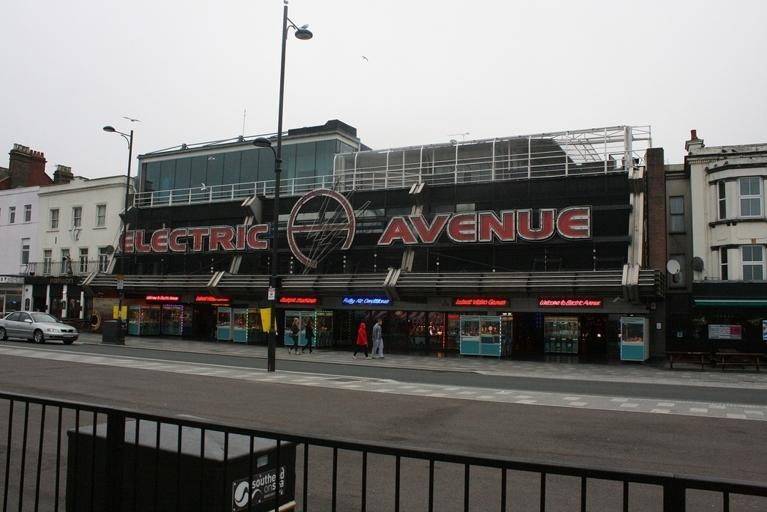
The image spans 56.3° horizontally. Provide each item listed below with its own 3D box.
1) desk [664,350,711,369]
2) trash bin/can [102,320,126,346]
[{"bbox_3d":[14.634,4.960,34.351,1.726,0.772,2.462,-2,-5,25],"label":"desk"},{"bbox_3d":[-15.278,4.374,40.757,1.442,1.351,0.809,-2,-2,12],"label":"trash bin/can"}]
